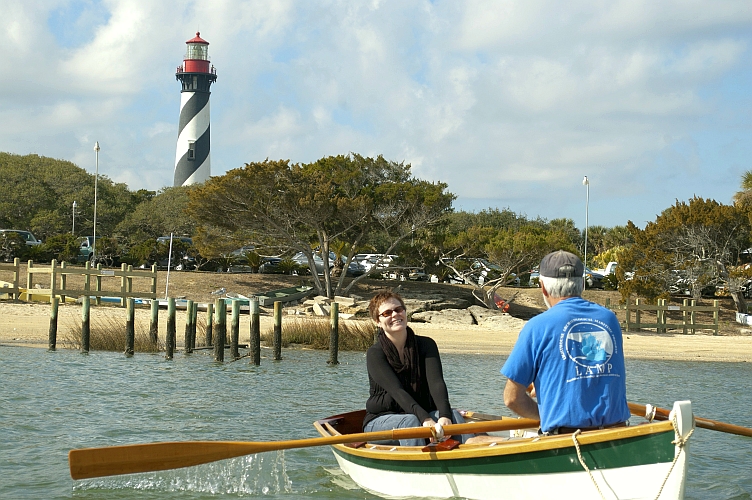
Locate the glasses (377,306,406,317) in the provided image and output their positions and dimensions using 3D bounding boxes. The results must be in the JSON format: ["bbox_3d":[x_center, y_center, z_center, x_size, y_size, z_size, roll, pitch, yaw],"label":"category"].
[{"bbox_3d":[0.262,1.025,13.863,0.428,0.183,0.172,1,1,-5],"label":"glasses"}]
